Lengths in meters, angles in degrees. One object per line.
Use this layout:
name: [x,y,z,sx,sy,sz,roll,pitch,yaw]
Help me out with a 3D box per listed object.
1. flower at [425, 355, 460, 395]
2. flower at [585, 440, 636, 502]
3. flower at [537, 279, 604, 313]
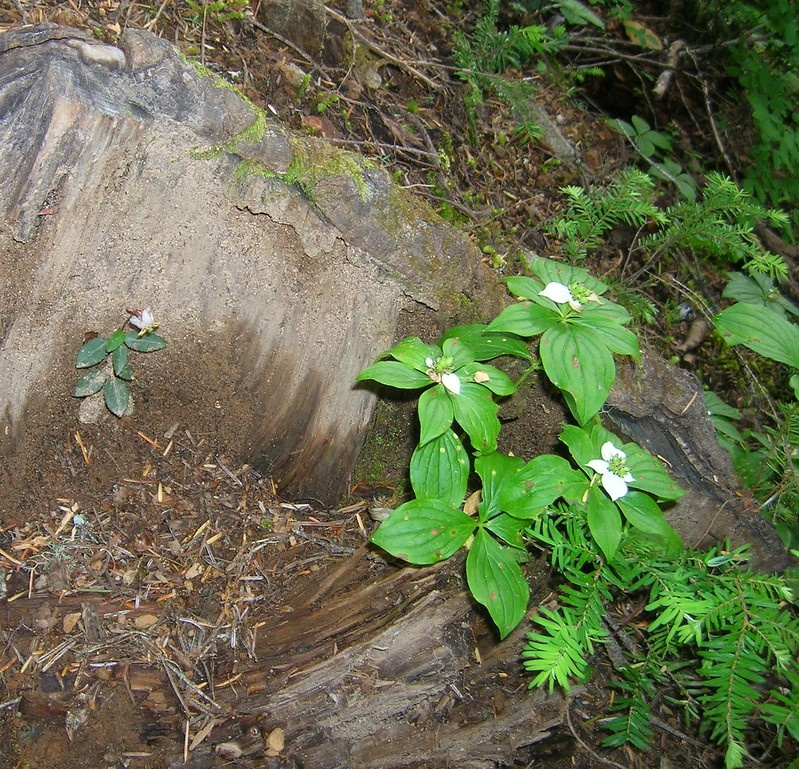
flower: [0.175,-0.044,2.955,0.185,0.073,0.068,37,23,7]
flower: [0.819,0.331,2.934,0.196,0.086,0.194,26,59,-16]
flower: [0.680,-0.362,3.029,0.188,0.028,0.125,9,71,-20]
